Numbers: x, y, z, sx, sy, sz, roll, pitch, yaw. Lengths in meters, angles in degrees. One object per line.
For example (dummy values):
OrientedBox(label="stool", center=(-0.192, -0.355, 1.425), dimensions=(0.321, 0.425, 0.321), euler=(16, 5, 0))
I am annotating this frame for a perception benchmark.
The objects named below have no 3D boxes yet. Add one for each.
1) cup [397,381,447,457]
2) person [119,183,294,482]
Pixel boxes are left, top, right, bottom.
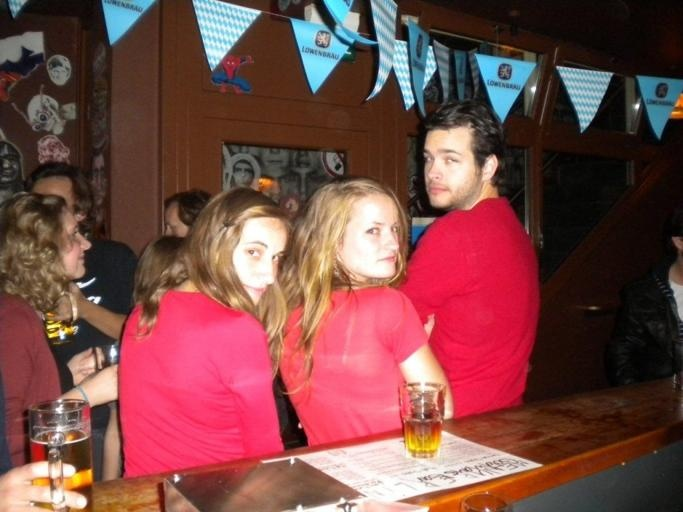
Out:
OrientedBox(label="cup", center=(0.260, 0.526, 1.873), dimensions=(0.135, 0.214, 0.137), euler=(-1, -2, 0))
OrientedBox(label="person", center=(-0.478, 0.255, 2.032), dimensions=(0.590, 1.014, 0.257), euler=(-1, -2, -7))
